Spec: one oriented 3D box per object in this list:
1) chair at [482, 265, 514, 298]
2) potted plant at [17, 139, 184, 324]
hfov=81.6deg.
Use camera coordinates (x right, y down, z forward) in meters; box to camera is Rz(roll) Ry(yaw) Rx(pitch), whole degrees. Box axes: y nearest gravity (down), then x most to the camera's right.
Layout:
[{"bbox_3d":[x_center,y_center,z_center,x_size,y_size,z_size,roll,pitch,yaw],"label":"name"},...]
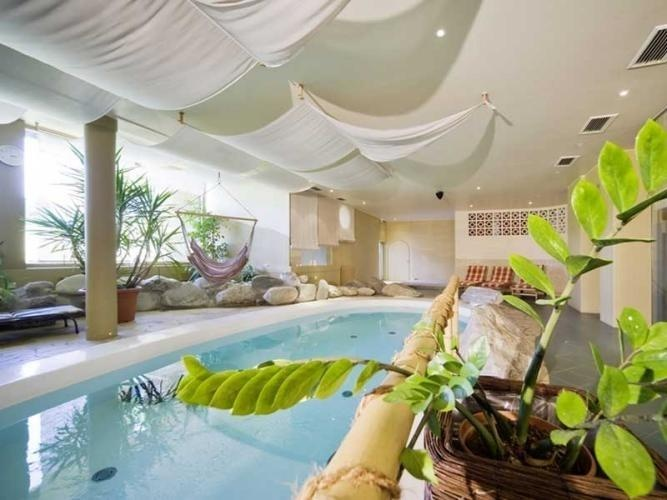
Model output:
[{"bbox_3d":[4.087,0.792,9.842,0.670,1.052,0.973,-1,-6,40],"label":"chair"},{"bbox_3d":[-2.993,-0.110,5.339,1.835,2.006,1.148,0,-7,-28],"label":"potted plant"}]
